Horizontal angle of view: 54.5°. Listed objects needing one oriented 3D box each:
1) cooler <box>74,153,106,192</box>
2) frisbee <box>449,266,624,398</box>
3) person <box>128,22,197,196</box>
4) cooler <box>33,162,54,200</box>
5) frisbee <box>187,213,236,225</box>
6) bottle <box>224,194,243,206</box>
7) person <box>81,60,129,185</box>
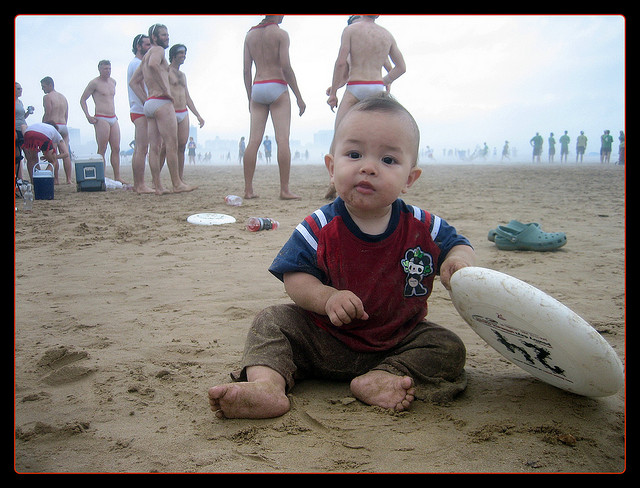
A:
[{"bbox_3d":[-3.421,-1.069,9.256,0.403,0.549,0.352,-6,16,-20],"label":"cooler"},{"bbox_3d":[0.815,0.339,2.389,0.646,0.468,0.217,12,19,40],"label":"frisbee"},{"bbox_3d":[-2.061,-1.723,8.178,0.691,2.211,1.229,-6,16,-20],"label":"person"},{"bbox_3d":[-3.851,-0.962,8.664,0.248,0.422,1.761,-7,16,-22],"label":"cooler"},{"bbox_3d":[-1.048,-0.267,6.126,0.468,0.050,0.516,2,14,7],"label":"frisbee"},{"bbox_3d":[-1.059,-0.546,7.610,0.134,0.128,0.219,19,-3,-41],"label":"bottle"},{"bbox_3d":[-3.612,-1.974,10.347,0.602,2.063,1.066,-5,16,-17],"label":"person"}]
